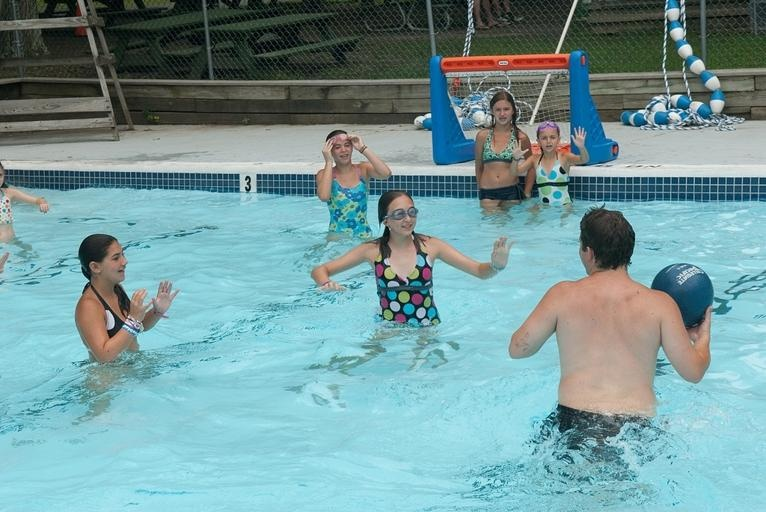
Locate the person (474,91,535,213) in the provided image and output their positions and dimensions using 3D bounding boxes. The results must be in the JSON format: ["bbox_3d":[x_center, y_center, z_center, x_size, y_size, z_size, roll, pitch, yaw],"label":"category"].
[{"bbox_3d":[1.450,-0.919,7.907,0.792,1.921,0.457,4,14,16],"label":"person"}]

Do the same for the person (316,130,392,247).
[{"bbox_3d":[-0.366,-0.729,6.799,0.738,0.995,1.281,5,0,2],"label":"person"}]

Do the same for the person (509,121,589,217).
[{"bbox_3d":[1.956,-0.758,7.669,0.929,1.408,0.472,-3,12,15],"label":"person"}]

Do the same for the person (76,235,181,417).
[{"bbox_3d":[-1.627,0.416,4.280,0.605,1.111,0.552,5,-3,-37],"label":"person"}]

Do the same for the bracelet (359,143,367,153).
[{"bbox_3d":[-0.217,-1.139,6.914,0.078,0.044,0.104,-42,-1,-6],"label":"bracelet"}]

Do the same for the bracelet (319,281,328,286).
[{"bbox_3d":[-0.396,0.189,4.544,0.031,0.026,0.032,-5,-12,12],"label":"bracelet"}]

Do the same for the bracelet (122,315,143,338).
[{"bbox_3d":[-1.538,0.437,4.115,0.085,0.110,0.135,-52,16,-6],"label":"bracelet"}]

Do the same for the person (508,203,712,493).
[{"bbox_3d":[1.153,0.360,3.364,0.638,1.383,0.800,3,7,26],"label":"person"}]

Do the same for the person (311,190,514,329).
[{"bbox_3d":[0.200,0.048,4.641,1.313,1.033,0.581,-2,12,17],"label":"person"}]
